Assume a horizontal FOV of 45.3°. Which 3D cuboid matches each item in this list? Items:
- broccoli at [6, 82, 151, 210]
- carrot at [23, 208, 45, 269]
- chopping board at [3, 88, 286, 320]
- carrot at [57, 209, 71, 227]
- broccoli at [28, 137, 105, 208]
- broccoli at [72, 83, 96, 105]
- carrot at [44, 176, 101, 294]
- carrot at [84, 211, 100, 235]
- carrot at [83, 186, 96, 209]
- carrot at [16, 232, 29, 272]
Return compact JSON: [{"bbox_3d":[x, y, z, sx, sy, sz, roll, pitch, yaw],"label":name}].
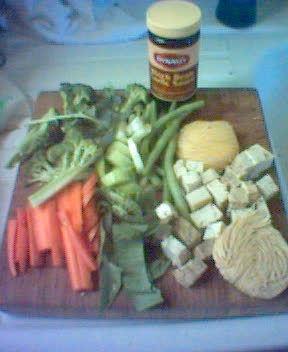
[{"bbox_3d":[-0.128,-0.052,0.994,0.293,0.069,0.395,28,63,31],"label":"broccoli"},{"bbox_3d":[-0.262,0.144,0.803,0.049,0.036,0.136,-1,76,-35],"label":"carrot"},{"bbox_3d":[-0.002,0.015,0.873,0.680,0.166,0.663,2,47,5],"label":"chopping board"},{"bbox_3d":[-0.178,0.094,0.763,0.023,0.012,0.036,-25,75,-6],"label":"carrot"},{"bbox_3d":[-0.180,0.011,0.830,0.033,0.182,0.098,-42,23,-13],"label":"broccoli"},{"bbox_3d":[-0.173,-0.229,0.980,0.086,0.026,0.066,0,56,-8],"label":"broccoli"},{"bbox_3d":[-0.162,0.129,0.776,0.156,0.092,0.238,-11,73,-5],"label":"carrot"},{"bbox_3d":[-0.115,0.101,0.751,0.027,0.010,0.042,32,82,36],"label":"carrot"},{"bbox_3d":[-0.124,0.048,0.774,0.015,0.015,0.052,5,48,49],"label":"carrot"},{"bbox_3d":[-0.271,0.168,0.773,0.025,0.017,0.078,5,66,-19],"label":"carrot"}]
